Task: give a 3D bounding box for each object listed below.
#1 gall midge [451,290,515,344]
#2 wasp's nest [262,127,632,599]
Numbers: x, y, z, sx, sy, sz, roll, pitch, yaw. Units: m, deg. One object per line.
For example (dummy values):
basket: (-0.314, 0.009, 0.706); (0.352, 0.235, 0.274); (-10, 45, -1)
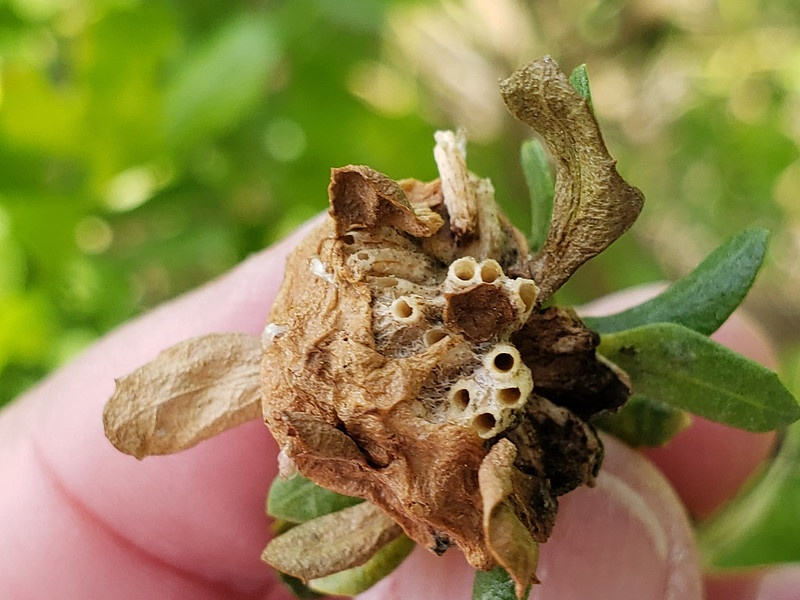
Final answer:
gall midge: (0.106, 0.021, 1.339); (0.088, 0.056, 0.060); (-17, 69, 0)
wasp's nest: (0.069, 0.049, 1.371); (0.510, 0.249, 0.513); (28, 75, 15)
